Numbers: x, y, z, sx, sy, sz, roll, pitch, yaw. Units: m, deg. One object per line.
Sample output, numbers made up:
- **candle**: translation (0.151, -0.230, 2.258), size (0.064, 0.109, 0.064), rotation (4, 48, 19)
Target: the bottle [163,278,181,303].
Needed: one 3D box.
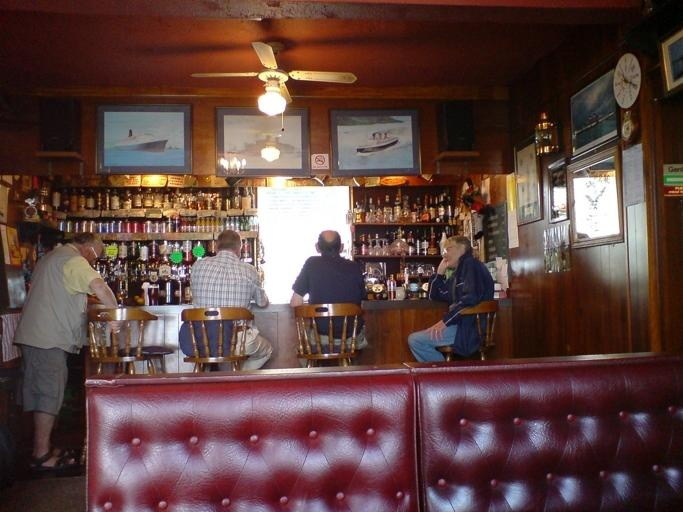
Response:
- **bottle**: translation (-2.007, 0.419, 7.628), size (0.201, 0.272, 0.457), rotation (-3, -1, -16)

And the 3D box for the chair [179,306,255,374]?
- **chair**: translation (-0.887, 0.585, 4.690), size (0.529, 0.672, 0.514), rotation (0, 1, -7)

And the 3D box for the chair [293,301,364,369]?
- **chair**: translation (-0.100, 0.606, 4.812), size (0.497, 0.728, 0.509), rotation (0, 4, 1)

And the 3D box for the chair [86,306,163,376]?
- **chair**: translation (-1.613, 0.728, 4.704), size (0.495, 0.693, 0.483), rotation (1, -3, -22)

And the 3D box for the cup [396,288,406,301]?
- **cup**: translation (0.548, 0.351, 6.013), size (0.072, 0.113, 0.118), rotation (-4, -1, 18)

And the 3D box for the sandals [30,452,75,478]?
- **sandals**: translation (-2.023, 1.502, 4.551), size (0.185, 0.063, 0.189), rotation (1, -3, -6)

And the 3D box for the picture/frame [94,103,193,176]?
- **picture/frame**: translation (-1.906, -1.114, 6.071), size (0.703, 0.502, 0.028), rotation (0, -5, -6)

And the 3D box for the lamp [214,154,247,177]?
- **lamp**: translation (-1.059, -0.881, 6.146), size (0.339, 0.239, 0.196), rotation (1, -5, -11)

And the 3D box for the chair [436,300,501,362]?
- **chair**: translation (1.028, 0.566, 5.084), size (0.474, 0.636, 0.485), rotation (2, -2, 15)

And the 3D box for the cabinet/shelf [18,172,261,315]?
- **cabinet/shelf**: translation (-2.283, -0.229, 8.255), size (2.274, 1.300, 0.694), rotation (-2, -17, -25)

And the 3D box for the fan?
- **fan**: translation (-0.543, -1.430, 5.130), size (1.271, 0.544, 1.264), rotation (5, 11, 17)

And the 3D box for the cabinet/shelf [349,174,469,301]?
- **cabinet/shelf**: translation (0.800, -0.211, 7.714), size (1.579, 1.510, 0.460), rotation (0, -6, -4)

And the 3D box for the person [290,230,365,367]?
- **person**: translation (0.009, 0.283, 5.131), size (0.529, 1.051, 0.550), rotation (-11, 20, -10)
